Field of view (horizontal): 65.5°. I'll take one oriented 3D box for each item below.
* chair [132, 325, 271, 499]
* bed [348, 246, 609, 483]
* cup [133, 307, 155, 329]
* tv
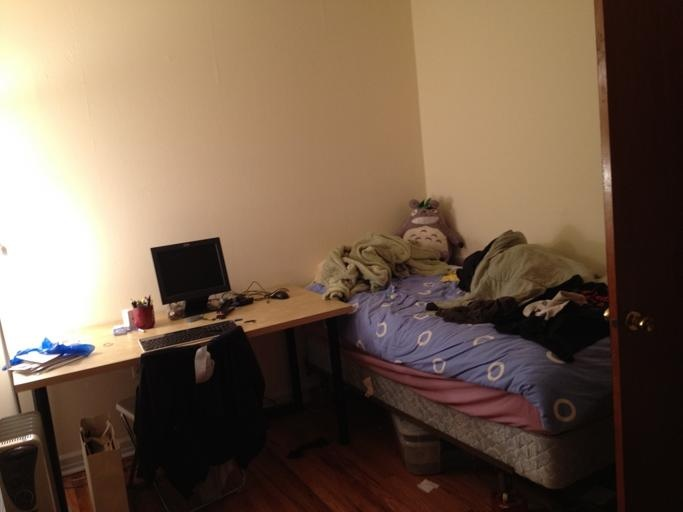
[{"bbox_3d":[-0.667,0.703,2.818,0.766,0.924,0.729,-7,39,-17],"label":"chair"},{"bbox_3d":[0.675,0.526,2.576,0.766,0.308,1.001,-15,24,-38],"label":"bed"},{"bbox_3d":[-1.127,0.358,3.078,0.114,0.123,0.119,-1,-1,0],"label":"cup"},{"bbox_3d":[-0.940,0.154,3.247,0.433,0.461,0.225,-10,5,-28],"label":"tv"}]
